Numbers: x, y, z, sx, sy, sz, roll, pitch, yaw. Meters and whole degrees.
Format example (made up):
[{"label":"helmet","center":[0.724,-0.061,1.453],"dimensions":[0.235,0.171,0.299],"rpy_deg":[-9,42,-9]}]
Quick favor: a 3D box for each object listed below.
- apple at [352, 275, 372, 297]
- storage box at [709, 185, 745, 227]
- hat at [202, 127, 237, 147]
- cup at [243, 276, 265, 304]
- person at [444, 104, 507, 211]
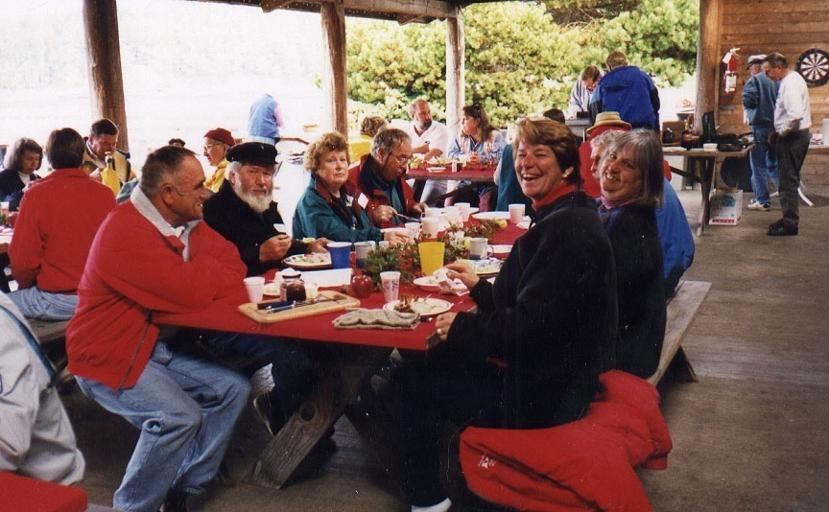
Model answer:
[{"label":"apple","center":[-0.311,0.189,3.951],"dimensions":[0.129,0.115,0.126],"rpy_deg":[-8,6,16]},{"label":"storage box","center":[4.883,-0.736,10.298],"dimensions":[0.524,0.537,0.759],"rpy_deg":[2,-1,3]},{"label":"hat","center":[-2.195,-1.306,7.365],"dimensions":[0.280,0.125,0.278],"rpy_deg":[12,5,33]},{"label":"cup","center":[-0.933,0.204,3.890],"dimensions":[0.142,0.133,0.137],"rpy_deg":[0,8,0]},{"label":"person","center":[0.922,-1.210,9.491],"dimensions":[1.037,1.788,0.938],"rpy_deg":[4,8,25]}]
